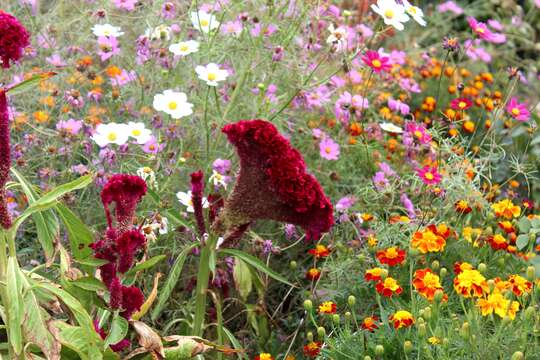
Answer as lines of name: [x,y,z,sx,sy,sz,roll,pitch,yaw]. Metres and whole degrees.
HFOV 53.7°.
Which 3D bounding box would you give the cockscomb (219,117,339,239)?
cockscomb: [0.026,0.005,2.330,0.522,0.456,0.281,4,-22,-6]
